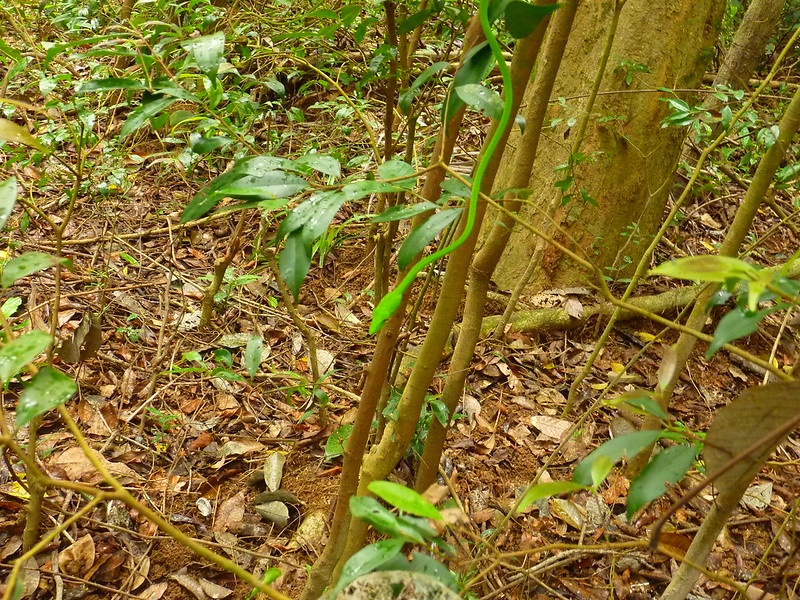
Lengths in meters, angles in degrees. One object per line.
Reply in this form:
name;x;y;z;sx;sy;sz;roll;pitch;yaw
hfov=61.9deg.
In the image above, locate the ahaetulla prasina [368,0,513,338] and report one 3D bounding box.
ahaetulla prasina;0.107;-0.271;1.498;0.208;0.686;0.587;13;44;7
